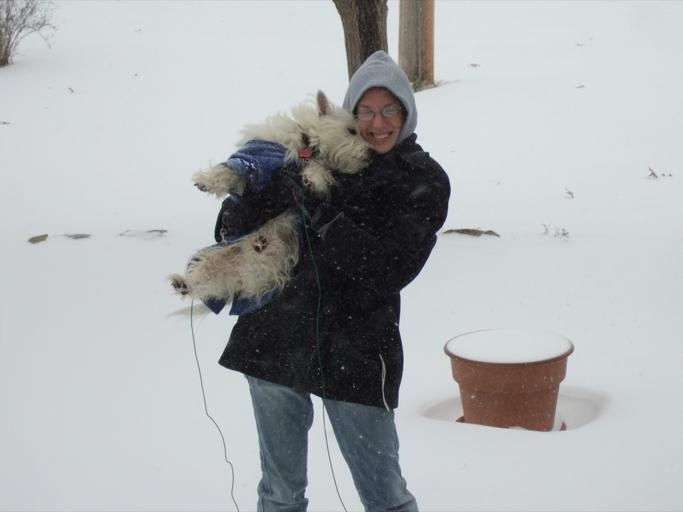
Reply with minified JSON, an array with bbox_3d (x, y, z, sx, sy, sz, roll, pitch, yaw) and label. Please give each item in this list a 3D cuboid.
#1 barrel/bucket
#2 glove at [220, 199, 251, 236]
[{"bbox_3d":[2.311,1.636,15.680,1.402,1.018,1.401,-1,0,0],"label":"barrel/bucket"},{"bbox_3d":[-1.285,-0.456,14.224,0.338,0.443,0.445,0,4,-21],"label":"glove"}]
